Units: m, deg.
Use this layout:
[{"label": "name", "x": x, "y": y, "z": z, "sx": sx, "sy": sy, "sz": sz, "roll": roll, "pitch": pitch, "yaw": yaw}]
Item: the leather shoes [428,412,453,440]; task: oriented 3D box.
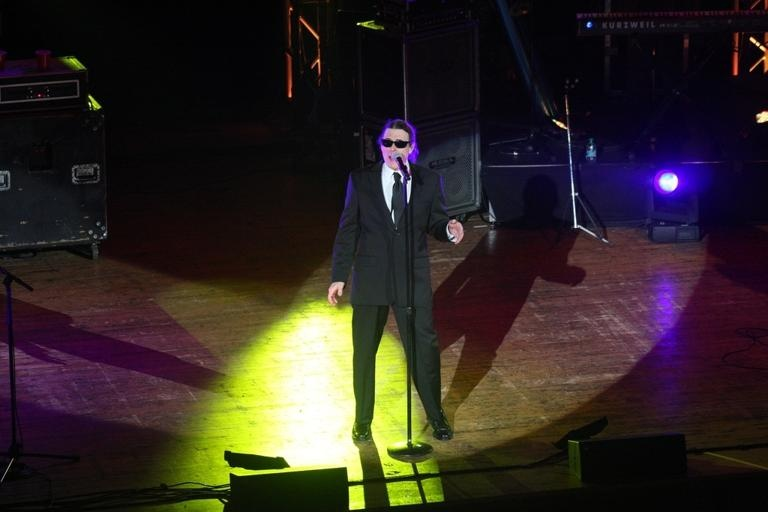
[{"label": "leather shoes", "x": 0.384, "y": 1.171, "z": 5.045, "sx": 0.120, "sy": 0.098, "sz": 0.282, "roll": -4, "pitch": 8, "yaw": -13}]

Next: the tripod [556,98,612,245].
[{"label": "tripod", "x": 2.912, "y": -1.164, "z": 10.523, "sx": 0.622, "sy": 1.926, "sz": 1.582, "roll": 1, "pitch": 4, "yaw": 14}]

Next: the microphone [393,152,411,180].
[{"label": "microphone", "x": 0.129, "y": -0.549, "z": 4.573, "sx": 0.091, "sy": 0.149, "sz": 0.200, "roll": 2, "pitch": 4, "yaw": 21}]

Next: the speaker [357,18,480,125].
[{"label": "speaker", "x": 0.447, "y": -2.765, "z": 10.639, "sx": 1.786, "sy": 1.467, "sz": 1.682, "roll": -13, "pitch": 25, "yaw": -31}]

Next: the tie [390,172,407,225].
[{"label": "tie", "x": 0.090, "y": -0.362, "z": 4.718, "sx": 0.099, "sy": 0.323, "sz": 0.247, "roll": 1, "pitch": 4, "yaw": 1}]

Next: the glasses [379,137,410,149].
[{"label": "glasses", "x": 0.070, "y": -0.706, "z": 4.609, "sx": 0.197, "sy": 0.068, "sz": 0.070, "roll": 0, "pitch": 4, "yaw": 2}]

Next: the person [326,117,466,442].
[{"label": "person", "x": 0.056, "y": 0.211, "z": 4.888, "sx": 0.863, "sy": 2.165, "sz": 0.606, "roll": 1, "pitch": 4, "yaw": 5}]

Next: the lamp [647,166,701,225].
[{"label": "lamp", "x": 3.949, "y": -0.815, "z": 10.144, "sx": 0.635, "sy": 0.637, "sz": 0.627, "roll": -3, "pitch": -7, "yaw": 28}]

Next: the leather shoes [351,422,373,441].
[{"label": "leather shoes", "x": -0.154, "y": 1.210, "z": 5.099, "sx": 0.154, "sy": 0.120, "sz": 0.133, "roll": 4, "pitch": 15, "yaw": 12}]
